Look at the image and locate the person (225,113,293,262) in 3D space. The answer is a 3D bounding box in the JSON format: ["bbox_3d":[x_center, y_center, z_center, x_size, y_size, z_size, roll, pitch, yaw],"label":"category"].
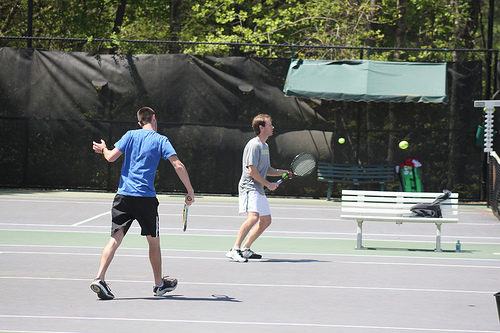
[{"bbox_3d":[0.103,0.435,14.360,0.995,2.996,0.918,2,11,2],"label":"person"}]

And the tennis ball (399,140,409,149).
[{"bbox_3d":[4.747,-0.693,21.324,0.286,0.245,0.267,-9,-14,-2],"label":"tennis ball"}]

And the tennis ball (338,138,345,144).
[{"bbox_3d":[2.792,-0.803,21.182,0.201,0.099,0.180,-1,42,12],"label":"tennis ball"}]

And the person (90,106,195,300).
[{"bbox_3d":[-1.963,0.641,12.395,1.727,3.318,1.089,-1,11,-12],"label":"person"}]
